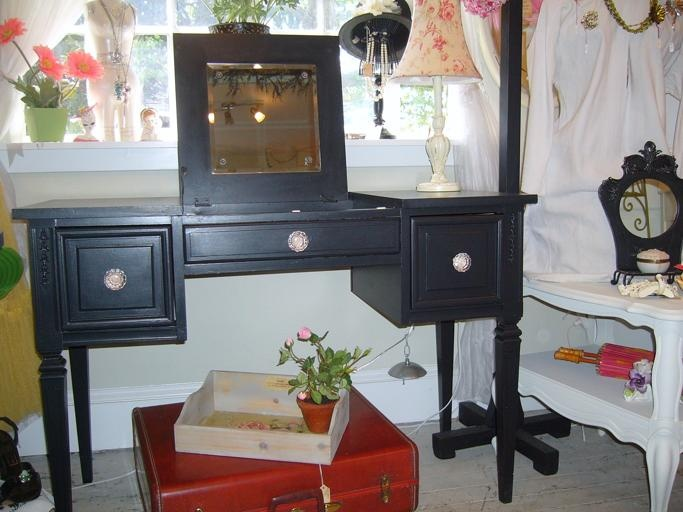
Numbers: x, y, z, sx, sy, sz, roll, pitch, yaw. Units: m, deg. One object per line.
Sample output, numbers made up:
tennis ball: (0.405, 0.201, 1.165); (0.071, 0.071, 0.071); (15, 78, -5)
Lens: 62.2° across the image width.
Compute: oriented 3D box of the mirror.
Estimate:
mirror: (-0.274, -0.454, 1.864); (0.563, 0.559, 0.296); (0, -2, -13)

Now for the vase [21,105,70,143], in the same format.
vase: (-1.068, -0.479, 2.059); (0.162, 0.124, 0.130); (-1, 4, -17)

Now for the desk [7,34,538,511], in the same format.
desk: (-0.282, 0.038, 1.925); (1.558, 1.551, 0.600); (-3, 12, -11)

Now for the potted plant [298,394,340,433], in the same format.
potted plant: (-0.074, 0.483, 1.765); (0.108, 0.083, 0.110); (1, 10, 1)

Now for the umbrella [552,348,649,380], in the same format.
umbrella: (0.929, 0.368, 2.073); (0.329, 0.094, 0.097); (5, 43, 29)

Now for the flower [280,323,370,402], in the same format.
flower: (-0.089, 0.357, 1.854); (0.277, 0.281, 0.206); (-9, 5, 17)

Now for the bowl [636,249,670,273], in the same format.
bowl: (1.056, 0.018, 1.930); (0.084, 0.060, 0.082); (1, 6, 0)
